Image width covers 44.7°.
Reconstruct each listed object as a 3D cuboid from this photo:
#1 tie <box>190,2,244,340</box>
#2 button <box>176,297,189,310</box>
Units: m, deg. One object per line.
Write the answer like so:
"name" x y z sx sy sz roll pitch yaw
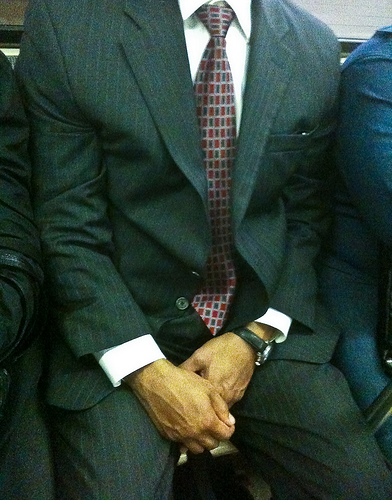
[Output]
"tie" 0.060 -0.169 1.067 0.208 0.657 0.038 -2 11 -9
"button" -0.035 0.128 1.152 0.029 0.018 0.024 -3 36 -5
